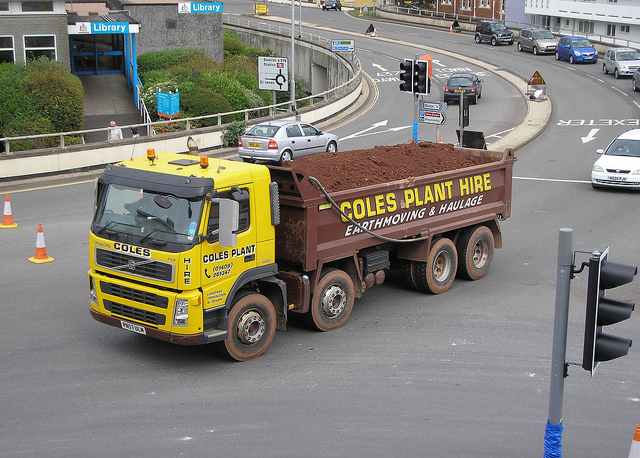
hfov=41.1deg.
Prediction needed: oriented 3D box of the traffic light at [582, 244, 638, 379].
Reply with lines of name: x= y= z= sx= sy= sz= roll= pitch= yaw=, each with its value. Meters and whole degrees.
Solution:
traffic light: x=4.156 y=1.299 z=12.210 sx=0.638 sy=1.872 sz=0.560 roll=4 pitch=15 yaw=17

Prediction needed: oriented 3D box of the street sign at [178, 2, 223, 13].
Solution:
street sign: x=-6.721 y=-12.375 z=47.786 sx=2.841 sy=0.629 sz=0.502 roll=-17 pitch=22 yaw=-42

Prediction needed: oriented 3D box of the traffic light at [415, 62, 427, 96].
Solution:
traffic light: x=3.101 y=-4.552 z=25.842 sx=0.371 sy=0.945 sz=0.425 roll=0 pitch=15 yaw=3

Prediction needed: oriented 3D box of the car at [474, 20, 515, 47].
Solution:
car: x=13.851 y=-15.320 z=67.089 sx=2.321 sy=1.764 sz=2.888 roll=-3 pitch=17 yaw=-9

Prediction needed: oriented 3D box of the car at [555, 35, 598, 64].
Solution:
car: x=17.256 y=-11.930 z=57.122 sx=1.634 sy=1.397 sz=2.786 roll=-4 pitch=14 yaw=-10

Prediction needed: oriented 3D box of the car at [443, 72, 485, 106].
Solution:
car: x=7.441 y=-7.295 z=43.942 sx=1.570 sy=1.279 sz=2.931 roll=2 pitch=23 yaw=12

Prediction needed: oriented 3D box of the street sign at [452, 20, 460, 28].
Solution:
street sign: x=12.501 y=-18.643 z=77.566 sx=0.910 sy=0.423 sz=1.453 roll=1 pitch=23 yaw=9

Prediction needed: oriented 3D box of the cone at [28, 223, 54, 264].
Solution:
cone: x=-6.736 y=0.287 z=20.509 sx=0.707 sy=0.902 sz=0.736 roll=9 pitch=11 yaw=37

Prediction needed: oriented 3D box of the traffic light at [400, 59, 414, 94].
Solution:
traffic light: x=2.721 y=-4.714 z=26.168 sx=0.388 sy=0.962 sz=0.983 roll=1 pitch=16 yaw=5

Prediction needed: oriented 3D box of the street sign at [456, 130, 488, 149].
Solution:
street sign: x=4.955 y=-2.794 z=26.494 sx=0.830 sy=0.598 sz=0.209 roll=15 pitch=24 yaw=42

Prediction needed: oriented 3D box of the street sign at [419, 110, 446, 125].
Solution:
street sign: x=3.493 y=-3.429 z=26.213 sx=0.410 sy=0.413 sz=1.153 roll=-14 pitch=22 yaw=-39

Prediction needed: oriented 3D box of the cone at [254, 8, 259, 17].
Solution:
cone: x=-6.426 y=-22.275 z=87.641 sx=0.479 sy=1.037 sz=0.533 roll=0 pitch=7 yaw=-11

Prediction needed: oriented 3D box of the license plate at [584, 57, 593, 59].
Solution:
license plate: x=17.729 y=-11.193 z=55.926 sx=0.668 sy=0.119 sz=0.127 roll=-5 pitch=17 yaw=-14

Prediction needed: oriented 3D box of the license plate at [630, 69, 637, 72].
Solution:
license plate: x=18.441 y=-9.246 z=49.903 sx=0.399 sy=0.136 sz=0.145 roll=-11 pitch=19 yaw=-31

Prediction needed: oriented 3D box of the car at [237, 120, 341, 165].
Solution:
car: x=-1.126 y=-3.029 z=31.547 sx=1.709 sy=1.516 sz=3.862 roll=15 pitch=25 yaw=42

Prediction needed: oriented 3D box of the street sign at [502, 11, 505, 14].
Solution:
street sign: x=18.062 y=-21.174 z=83.278 sx=0.305 sy=0.353 sz=0.077 roll=0 pitch=-4 yaw=-14

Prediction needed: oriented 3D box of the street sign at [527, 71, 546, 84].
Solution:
street sign: x=10.856 y=-7.450 z=42.245 sx=0.604 sy=0.674 sz=1.023 roll=2 pitch=17 yaw=9

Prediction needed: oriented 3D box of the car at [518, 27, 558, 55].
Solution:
car: x=15.745 y=-13.424 z=61.005 sx=1.536 sy=1.393 sz=2.669 roll=-9 pitch=19 yaw=-19
